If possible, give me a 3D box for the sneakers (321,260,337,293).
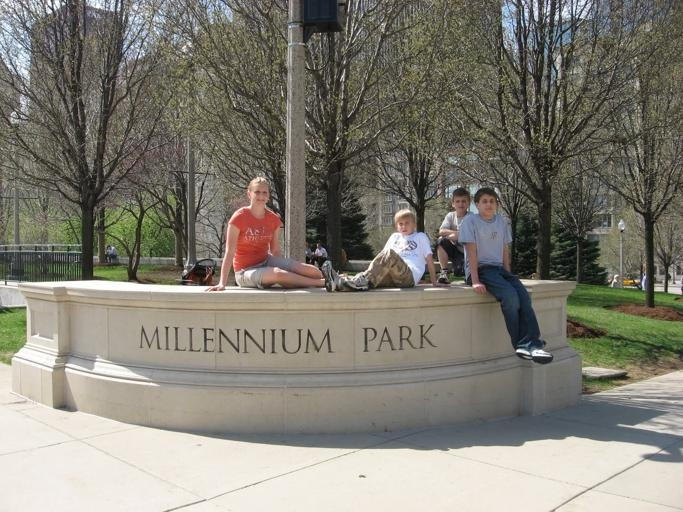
[{"bbox_3d":[-0.162,0.264,9.080,0.180,0.457,0.145,-6,3,-40],"label":"sneakers"}]

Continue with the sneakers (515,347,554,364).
[{"bbox_3d":[2.592,1.315,9.244,0.479,0.228,0.215,4,-35,47],"label":"sneakers"}]

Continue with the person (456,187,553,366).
[{"bbox_3d":[2.265,0.220,9.752,1.358,2.350,0.921,5,7,38],"label":"person"}]

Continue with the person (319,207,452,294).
[{"bbox_3d":[0.512,-0.088,9.714,0.938,1.151,1.520,1,1,41],"label":"person"}]

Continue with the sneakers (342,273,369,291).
[{"bbox_3d":[0.176,0.347,9.257,0.462,0.248,0.160,12,-6,-31],"label":"sneakers"}]

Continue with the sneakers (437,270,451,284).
[{"bbox_3d":[1.524,0.312,10.343,0.106,0.271,0.344,0,3,-10],"label":"sneakers"}]
